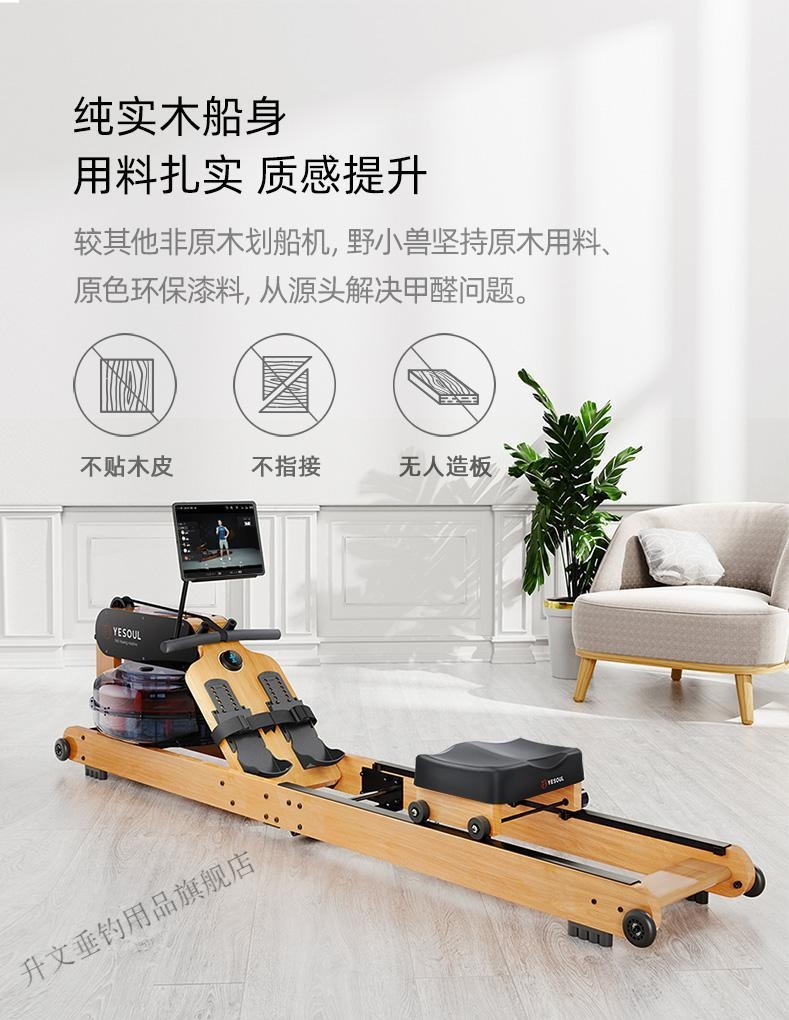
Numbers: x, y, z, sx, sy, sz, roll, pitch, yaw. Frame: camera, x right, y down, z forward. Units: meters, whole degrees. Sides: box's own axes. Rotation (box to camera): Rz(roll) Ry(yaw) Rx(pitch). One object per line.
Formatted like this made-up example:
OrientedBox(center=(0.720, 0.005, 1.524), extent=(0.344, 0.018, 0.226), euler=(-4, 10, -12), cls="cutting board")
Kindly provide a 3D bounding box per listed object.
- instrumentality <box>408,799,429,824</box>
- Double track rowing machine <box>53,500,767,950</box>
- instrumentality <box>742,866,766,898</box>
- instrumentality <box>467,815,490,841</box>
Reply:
OrientedBox(center=(0.048, 0.593, 1.682), extent=(0.037, 0.036, 0.020), euler=(-32, -16, 34), cls="instrumentality")
OrientedBox(center=(-0.060, 0.449, 1.981), extent=(1.561, 0.621, 0.478), euler=(4, -4, 33), cls="Double track rowing machine")
OrientedBox(center=(0.641, 0.666, 1.530), extent=(0.024, 0.067, 0.099), euler=(0, -1, 29), cls="instrumentality")
OrientedBox(center=(0.156, 0.585, 1.578), extent=(0.042, 0.042, 0.030), euler=(0, -1, 5), cls="instrumentality")
